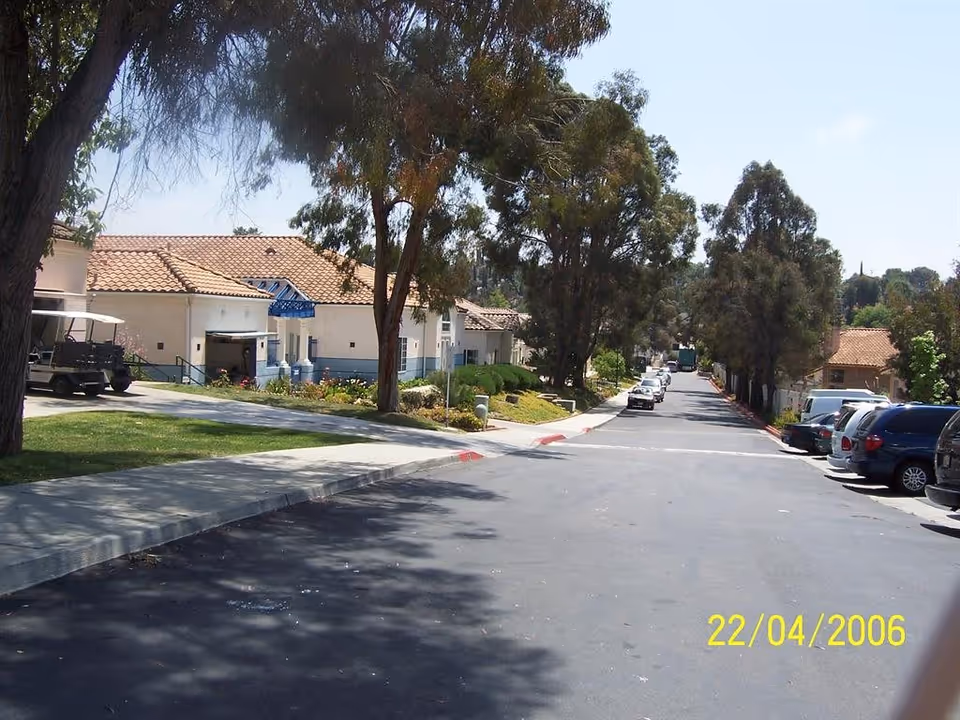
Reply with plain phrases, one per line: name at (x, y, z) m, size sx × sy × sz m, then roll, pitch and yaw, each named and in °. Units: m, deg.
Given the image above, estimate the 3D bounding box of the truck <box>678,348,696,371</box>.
truck at (47.295, 0.220, 177.227) m, size 2.925 × 4.052 × 5.962 m, roll 2°, pitch 2°, yaw 15°

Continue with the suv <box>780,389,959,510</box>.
suv at (10.047, 2.156, 20.094) m, size 1.746 × 2.220 × 6.208 m, roll 4°, pitch -4°, yaw 17°
